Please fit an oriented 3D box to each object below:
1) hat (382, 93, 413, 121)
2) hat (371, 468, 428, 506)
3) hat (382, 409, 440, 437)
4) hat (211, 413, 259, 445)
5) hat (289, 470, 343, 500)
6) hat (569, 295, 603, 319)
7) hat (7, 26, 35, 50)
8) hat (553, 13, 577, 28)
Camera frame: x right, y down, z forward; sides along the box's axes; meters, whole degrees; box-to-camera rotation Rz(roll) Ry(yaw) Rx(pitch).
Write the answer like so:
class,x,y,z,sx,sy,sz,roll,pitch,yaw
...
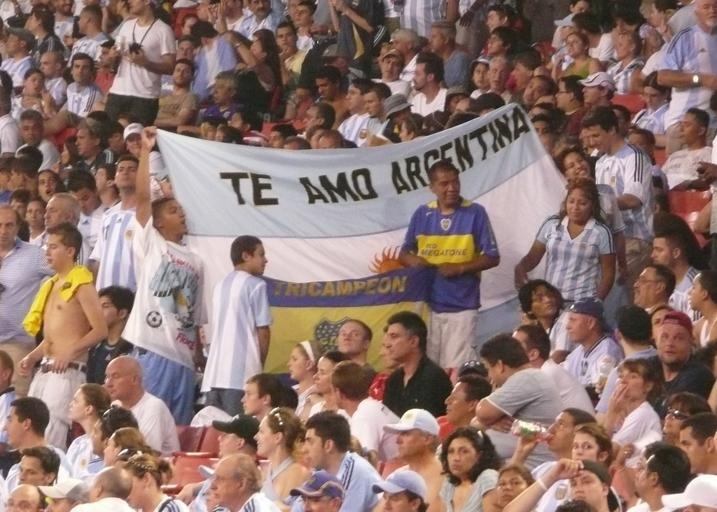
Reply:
class,x,y,z,sx,sy,sz,roll,pitch,yaw
hat,0.546,-2.246,24.252,0.379,0.340,0.204,-36,80,29
hat,0.413,2.364,16.741,0.448,0.330,0.240,13,78,-6
hat,0.596,1.793,17.493,0.466,0.299,0.266,4,79,-5
hat,-1.351,1.915,18.133,0.452,0.288,0.272,26,93,1
hat,-0.419,2.358,16.642,0.410,0.279,0.208,8,77,-13
hat,2.746,0.629,19.690,0.324,0.231,0.175,16,94,9
hat,-6.348,-4.098,30.806,0.457,0.329,0.359,29,102,-25
hat,3.632,-4.145,28.801,0.431,0.174,0.284,-18,32,6
